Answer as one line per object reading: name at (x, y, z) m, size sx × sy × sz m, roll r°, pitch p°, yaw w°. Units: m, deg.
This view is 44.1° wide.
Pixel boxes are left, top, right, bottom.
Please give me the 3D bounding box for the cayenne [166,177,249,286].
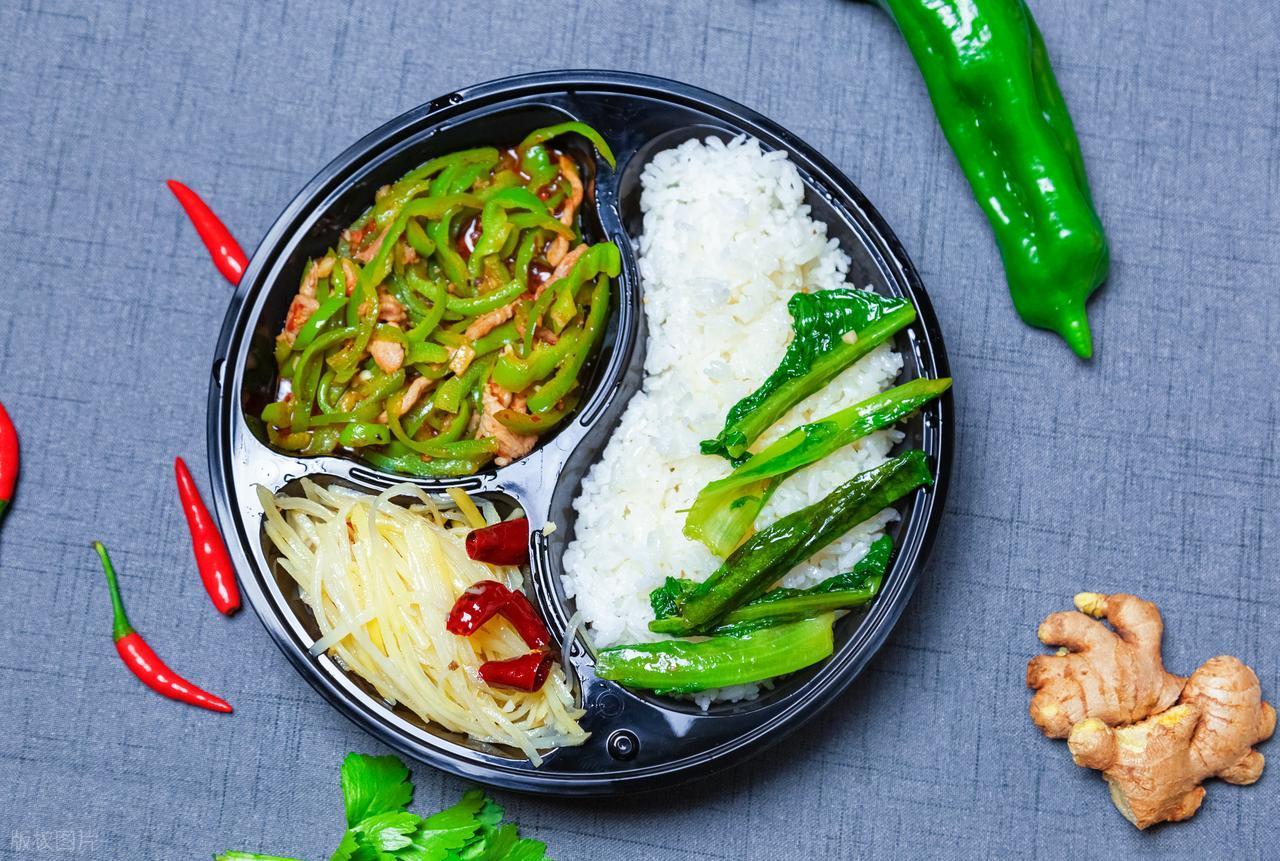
cayenne at (-1.420, -0.636, 5.152) m, size 0.078 × 0.086 × 0.374 m, roll -29°, pitch 84°, yaw -45°
